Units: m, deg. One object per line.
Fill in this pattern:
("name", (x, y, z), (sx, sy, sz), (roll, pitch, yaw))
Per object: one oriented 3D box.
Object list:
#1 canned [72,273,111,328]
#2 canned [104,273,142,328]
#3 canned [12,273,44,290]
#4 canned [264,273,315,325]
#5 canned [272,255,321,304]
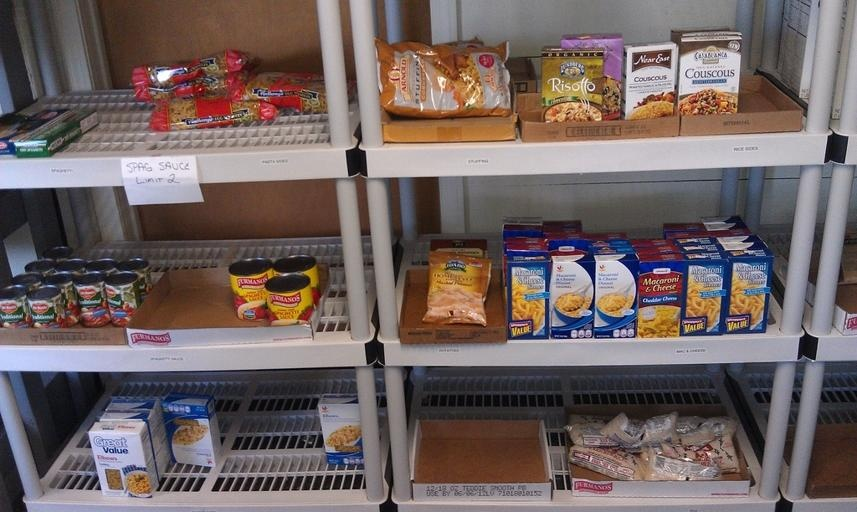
("canned", (-1.306, 0.174, 2.447), (0.096, 0.200, 0.116), (12, 26, 43))
("canned", (-1.188, 0.176, 2.436), (0.132, 0.188, 0.127), (11, 31, 10))
("canned", (-1.568, 0.099, 2.453), (0.083, 0.031, 0.080), (-12, 25, -35))
("canned", (-0.530, 0.154, 2.434), (0.188, 0.187, 0.179), (-7, 21, -13))
("canned", (-0.490, 0.057, 2.470), (0.198, 0.197, 0.188), (-3, 26, -6))
